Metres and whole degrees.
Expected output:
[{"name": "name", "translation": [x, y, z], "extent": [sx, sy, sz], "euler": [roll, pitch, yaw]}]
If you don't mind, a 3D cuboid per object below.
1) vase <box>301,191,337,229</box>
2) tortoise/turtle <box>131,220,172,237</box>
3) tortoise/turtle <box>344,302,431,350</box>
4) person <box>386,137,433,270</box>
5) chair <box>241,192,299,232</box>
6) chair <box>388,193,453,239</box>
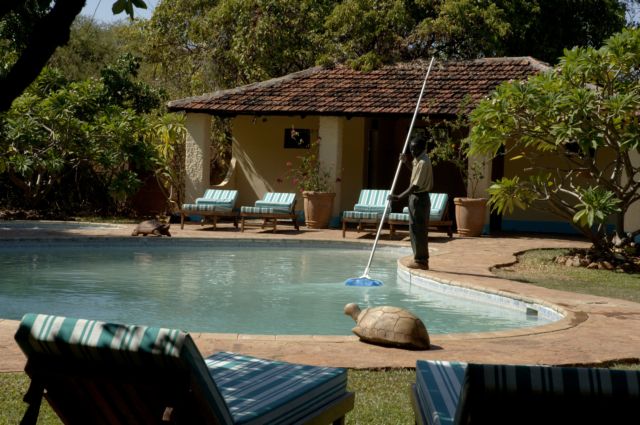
[{"name": "vase", "translation": [-0.094, -0.085, 16.934], "extent": [1.005, 1.173, 1.025], "euler": [1, 1, -12]}, {"name": "tortoise/turtle", "translation": [-4.278, 0.401, 14.295], "extent": [0.837, 0.362, 0.452], "euler": [-2, -2, 4]}, {"name": "tortoise/turtle", "translation": [0.710, 1.218, 6.354], "extent": [0.825, 0.410, 0.852], "euler": [2, 1, 4]}, {"name": "person", "translation": [1.592, -0.198, 10.444], "extent": [0.833, 2.443, 1.044], "euler": [3, 2, 32]}, {"name": "chair", "translation": [-1.449, -0.072, 16.963], "extent": [1.598, 1.096, 2.924], "euler": [-1, 3, -4]}, {"name": "chair", "translation": [2.697, 0.035, 15.101], "extent": [1.254, 1.183, 1.842], "euler": [0, -1, 34]}]
